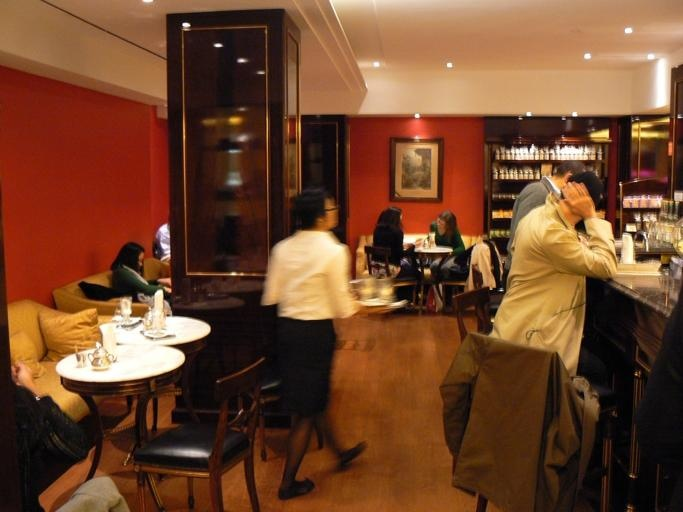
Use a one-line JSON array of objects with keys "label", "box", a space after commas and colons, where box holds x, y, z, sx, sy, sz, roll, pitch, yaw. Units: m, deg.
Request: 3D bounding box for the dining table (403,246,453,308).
[{"label": "dining table", "box": [1.253, 0.300, 8.373, 0.802, 0.993, 0.827, 0, 0, 1]}]

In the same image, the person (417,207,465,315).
[{"label": "person", "box": [1.570, -0.019, 8.566, 0.543, 1.377, 0.675, 5, 15, 23]}]

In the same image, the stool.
[{"label": "stool", "box": [-0.533, 1.130, 4.435, 0.760, 0.850, 0.698, -1, -1, 0]}]

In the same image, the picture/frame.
[{"label": "picture/frame", "box": [1.347, -1.574, 9.918, 1.077, 1.383, 0.094, 1, 2, 6]}]

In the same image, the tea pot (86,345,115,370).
[{"label": "tea pot", "box": [-1.565, 0.646, 3.635, 0.171, 0.140, 0.205, -1, 10, -17]}]

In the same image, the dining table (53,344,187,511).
[{"label": "dining table", "box": [-1.515, 1.061, 3.887, 0.873, 0.833, 0.864, 2, 9, 9]}]

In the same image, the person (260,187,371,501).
[{"label": "person", "box": [-0.201, 0.565, 3.875, 0.675, 2.039, 0.607, 2, 9, 1]}]

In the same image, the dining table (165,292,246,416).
[{"label": "dining table", "box": [-1.072, 0.840, 5.162, 0.850, 0.939, 0.847, 0, 1, -1]}]

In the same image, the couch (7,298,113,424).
[{"label": "couch", "box": [-2.117, 0.795, 4.180, 0.554, 0.587, 1.087, 2, 20, -5]}]

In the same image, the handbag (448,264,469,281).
[{"label": "handbag", "box": [1.720, 0.237, 8.227, 0.209, 0.210, 0.232, 1, 2, 8]}]

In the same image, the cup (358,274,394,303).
[{"label": "cup", "box": [0.225, 0.227, 3.879, 0.174, 0.131, 0.185, 0, -4, 0]}]

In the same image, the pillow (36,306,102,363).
[{"label": "pillow", "box": [-2.302, 0.666, 4.685, 0.406, 0.391, 0.226, -2, 8, -6]}]

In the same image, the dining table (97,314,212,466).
[{"label": "dining table", "box": [-1.405, 0.990, 4.431, 0.823, 0.880, 0.869, 2, 15, -6]}]

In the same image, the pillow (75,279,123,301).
[{"label": "pillow", "box": [-2.569, 0.380, 5.995, 0.417, 0.153, 0.498, 13, -3, 16]}]

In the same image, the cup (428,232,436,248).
[{"label": "cup", "box": [1.345, -0.241, 8.531, 0.182, 0.226, 0.192, 0, -1, 0]}]

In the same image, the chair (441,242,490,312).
[{"label": "chair", "box": [1.778, 0.240, 7.635, 0.827, 1.204, 0.842, 0, 1, 8]}]
